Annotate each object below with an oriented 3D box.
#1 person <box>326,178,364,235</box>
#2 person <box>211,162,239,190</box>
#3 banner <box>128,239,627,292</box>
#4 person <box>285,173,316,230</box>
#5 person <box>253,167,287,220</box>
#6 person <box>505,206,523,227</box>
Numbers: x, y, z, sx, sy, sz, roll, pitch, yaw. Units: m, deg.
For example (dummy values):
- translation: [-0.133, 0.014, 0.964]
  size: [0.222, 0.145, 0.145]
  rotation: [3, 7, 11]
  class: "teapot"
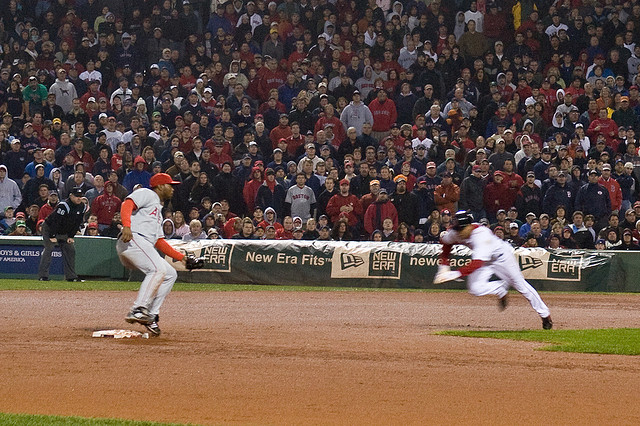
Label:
- translation: [0.760, 0.184, 38.175]
  size: [1.347, 2.455, 0.780]
  rotation: [-2, 5, -13]
  class: "person"
- translation: [-3.026, -1.226, 38.971]
  size: [0.781, 0.871, 0.775]
  rotation: [0, -3, 20]
  class: "person"
- translation: [2.041, 1.532, 36.808]
  size: [13.287, 1.442, 0.952]
  rotation: [1, -2, 1]
  class: "banner"
- translation: [-0.619, -0.419, 38.590]
  size: [0.982, 1.779, 0.591]
  rotation: [2, -2, -12]
  class: "person"
- translation: [-1.580, -0.658, 38.627]
  size: [0.977, 1.599, 0.599]
  rotation: [2, -2, -10]
  class: "person"
- translation: [6.088, 0.054, 38.141]
  size: [0.664, 0.587, 1.281]
  rotation: [5, 0, 5]
  class: "person"
